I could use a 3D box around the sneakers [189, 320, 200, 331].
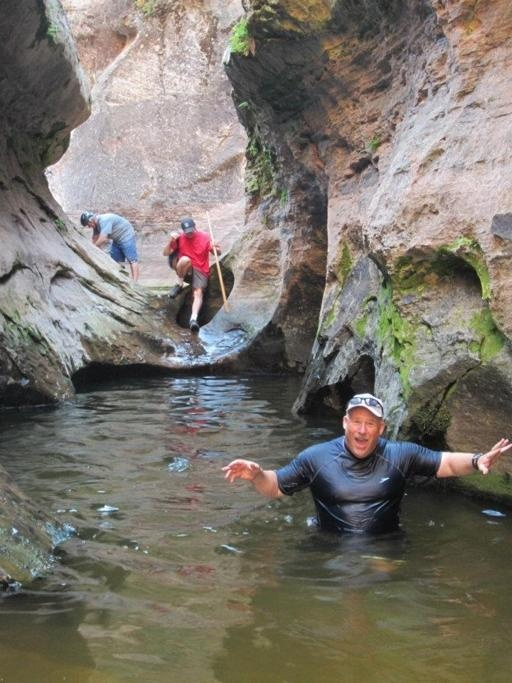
[{"bbox_3d":[-0.998,-0.232,11.773,0.100,0.098,0.250,0,-21,-9],"label":"sneakers"}]

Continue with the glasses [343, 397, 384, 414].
[{"bbox_3d":[0.583,0.326,3.743,0.109,0.050,0.138,11,-18,17],"label":"glasses"}]

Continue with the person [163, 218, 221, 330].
[{"bbox_3d":[-1.095,-1.033,12.101,0.774,1.724,1.008,-4,7,-40],"label":"person"}]

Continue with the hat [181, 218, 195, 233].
[{"bbox_3d":[-1.098,-1.897,11.797,0.208,0.248,0.288,0,5,-5],"label":"hat"}]

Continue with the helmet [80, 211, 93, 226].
[{"bbox_3d":[-2.751,-2.003,11.778,0.195,0.192,0.420,0,4,-10],"label":"helmet"}]

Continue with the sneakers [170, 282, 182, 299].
[{"bbox_3d":[-1.304,-0.837,11.999,0.155,0.254,0.375,3,5,25],"label":"sneakers"}]

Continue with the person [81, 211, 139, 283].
[{"bbox_3d":[-2.443,-1.632,12.184,0.737,1.097,1.278,1,5,0],"label":"person"}]
